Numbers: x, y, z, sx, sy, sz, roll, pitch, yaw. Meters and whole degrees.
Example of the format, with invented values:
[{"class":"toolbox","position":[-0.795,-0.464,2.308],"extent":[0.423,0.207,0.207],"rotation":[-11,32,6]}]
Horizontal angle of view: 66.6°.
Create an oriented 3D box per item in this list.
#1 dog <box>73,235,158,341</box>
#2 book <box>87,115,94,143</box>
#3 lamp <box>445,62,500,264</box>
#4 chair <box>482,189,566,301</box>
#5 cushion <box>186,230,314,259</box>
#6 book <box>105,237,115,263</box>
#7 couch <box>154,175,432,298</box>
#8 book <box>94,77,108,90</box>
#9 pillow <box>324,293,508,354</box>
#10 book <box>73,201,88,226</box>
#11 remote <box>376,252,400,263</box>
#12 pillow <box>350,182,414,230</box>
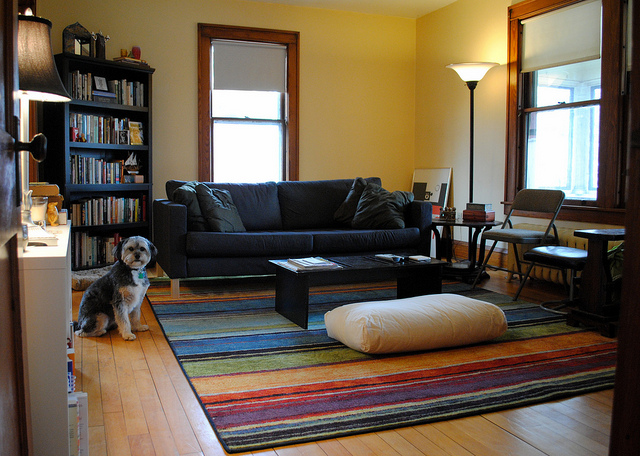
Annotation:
[{"class":"dog","position":[-1.396,0.398,3.290],"extent":[0.539,0.690,0.333],"rotation":[-1,8,-7]},{"class":"book","position":[-2.413,-1.057,5.136],"extent":[0.067,0.291,0.102],"rotation":[-2,8,-8]},{"class":"lamp","position":[1.688,-0.697,5.495],"extent":[0.519,2.321,1.137],"rotation":[2,8,16]},{"class":"chair","position":[2.056,0.083,4.910],"extent":[0.681,0.972,1.706],"rotation":[2,8,19]},{"class":"cushion","position":[-0.601,0.140,4.460],"extent":[1.185,0.264,0.088],"rotation":[-3,8,-19]},{"class":"book","position":[-2.226,0.226,5.182],"extent":[0.140,0.246,0.258],"rotation":[0,3,-16]},{"class":"couch","position":[-0.299,0.012,5.008],"extent":[2.620,1.019,0.970],"rotation":[-3,8,-19]},{"class":"book","position":[-2.343,-1.560,5.224],"extent":[0.015,0.128,0.149],"rotation":[-10,-21,23]},{"class":"pillow","position":[0.656,0.624,3.256],"extent":[1.132,0.279,0.412],"rotation":[-3,8,-16]},{"class":"book","position":[-2.458,-0.159,5.033],"extent":[0.180,0.236,0.246],"rotation":[1,3,-12]},{"class":"remote","position":[0.571,0.235,3.970],"extent":[0.096,0.035,0.243],"rotation":[-4,8,-27]},{"class":"pillow","position":[0.661,-0.241,5.052],"extent":[0.499,0.491,0.148],"rotation":[10,-29,9]}]
